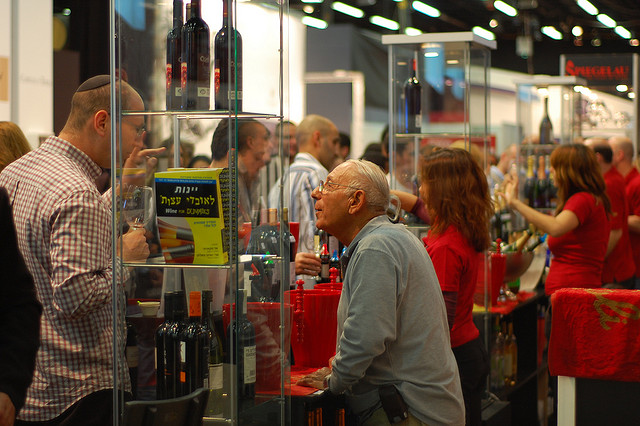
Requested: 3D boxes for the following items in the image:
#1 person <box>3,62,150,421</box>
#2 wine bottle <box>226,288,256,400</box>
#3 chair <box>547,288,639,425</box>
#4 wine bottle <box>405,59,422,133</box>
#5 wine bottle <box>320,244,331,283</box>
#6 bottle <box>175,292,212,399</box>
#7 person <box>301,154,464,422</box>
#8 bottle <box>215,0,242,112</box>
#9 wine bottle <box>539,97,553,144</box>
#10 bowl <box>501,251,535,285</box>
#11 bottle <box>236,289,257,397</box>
[{"bbox_3d":[-1.260,0.179,3.992,0.930,1.879,0.379,-1,-2,32],"label":"person"},{"bbox_3d":[-0.389,0.654,3.728,0.149,0.556,0.092,0,-2,-12],"label":"wine bottle"},{"bbox_3d":[1.770,0.874,4.851,0.540,0.935,0.668,-1,-3,16],"label":"chair"},{"bbox_3d":[0.762,-0.952,6.082,0.137,0.587,0.045,0,-2,7],"label":"wine bottle"},{"bbox_3d":[0.041,0.346,5.190,0.074,0.255,0.193,0,-2,1],"label":"wine bottle"},{"bbox_3d":[-0.629,0.661,3.738,0.184,0.523,0.058,-1,-2,23],"label":"bottle"},{"bbox_3d":[0.353,0.423,4.089,0.805,1.445,0.431,0,-2,11],"label":"person"},{"bbox_3d":[-0.449,-0.777,3.709,0.135,0.561,0.096,0,-2,-11],"label":"bottle"},{"bbox_3d":[2.656,-1.091,8.797,0.141,0.563,0.137,0,-2,0],"label":"wine bottle"},{"bbox_3d":[1.687,0.449,6.361,0.245,0.195,0.257,1,-1,0],"label":"bowl"},{"bbox_3d":[-0.368,0.648,3.739,0.040,0.540,0.149,-1,-2,35],"label":"bottle"}]
